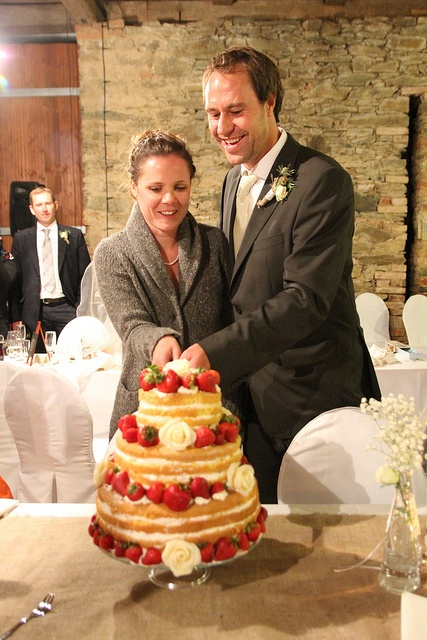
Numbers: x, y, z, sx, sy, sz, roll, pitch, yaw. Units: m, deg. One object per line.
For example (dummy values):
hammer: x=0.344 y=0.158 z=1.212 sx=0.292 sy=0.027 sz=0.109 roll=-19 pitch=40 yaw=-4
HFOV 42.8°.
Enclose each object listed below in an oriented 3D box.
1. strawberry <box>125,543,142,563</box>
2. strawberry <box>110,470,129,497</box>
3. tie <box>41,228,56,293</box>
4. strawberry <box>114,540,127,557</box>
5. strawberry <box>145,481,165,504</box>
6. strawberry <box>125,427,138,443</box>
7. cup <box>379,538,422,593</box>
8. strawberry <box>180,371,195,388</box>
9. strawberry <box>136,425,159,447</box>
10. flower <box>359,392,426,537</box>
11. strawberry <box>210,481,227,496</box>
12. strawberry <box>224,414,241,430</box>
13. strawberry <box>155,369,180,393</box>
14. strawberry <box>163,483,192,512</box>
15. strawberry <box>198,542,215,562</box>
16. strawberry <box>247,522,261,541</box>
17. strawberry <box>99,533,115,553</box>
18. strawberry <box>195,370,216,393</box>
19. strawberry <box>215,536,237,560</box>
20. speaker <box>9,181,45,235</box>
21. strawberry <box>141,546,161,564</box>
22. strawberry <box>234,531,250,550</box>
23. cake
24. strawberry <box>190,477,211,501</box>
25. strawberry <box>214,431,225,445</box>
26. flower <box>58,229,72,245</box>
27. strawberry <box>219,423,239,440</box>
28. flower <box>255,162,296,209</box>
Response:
strawberry: x=-0.170 y=0.501 z=1.166 sx=0.033 sy=0.034 sz=0.032 roll=-9 pitch=-19 yaw=-39
strawberry: x=-0.211 y=0.370 z=1.249 sx=0.043 sy=0.054 sz=0.044 roll=-17 pitch=-3 yaw=-26
tie: x=-1.845 y=-0.676 z=6.081 sx=0.022 sy=0.807 sz=0.173 roll=7 pitch=12 yaw=19
strawberry: x=-0.203 y=0.502 z=1.195 sx=0.024 sy=0.030 sz=0.017 roll=-7 pitch=-35 yaw=10
strawberry: x=-0.125 y=0.376 z=1.185 sx=0.043 sy=0.049 sz=0.045 roll=8 pitch=-2 yaw=-26
strawberry: x=-0.193 y=0.273 z=1.284 sx=0.034 sy=0.018 sz=0.024 roll=2 pitch=-25 yaw=13
cup: x=0.408 y=0.532 z=1.186 sx=0.085 sy=0.125 sz=0.062 roll=2 pitch=7 yaw=17
strawberry: x=-0.057 y=0.138 z=1.262 sx=0.031 sy=0.035 sz=0.030 roll=2 pitch=-9 yaw=13
strawberry: x=-0.156 y=0.262 z=1.230 sx=0.061 sy=0.048 sz=0.040 roll=4 pitch=8 yaw=28
flower: x=0.404 y=0.269 z=1.219 sx=0.142 sy=0.246 sz=0.245 roll=2 pitch=7 yaw=16
strawberry: x=0.011 y=0.383 z=1.223 sx=0.030 sy=0.031 sz=0.022 roll=5 pitch=8 yaw=33
strawberry: x=0.048 y=0.255 z=1.357 sx=0.037 sy=0.040 sz=0.035 roll=-1 pitch=-6 yaw=2
strawberry: x=-0.100 y=0.145 z=1.249 sx=0.050 sy=0.050 sz=0.050 roll=24 pitch=-6 yaw=9
strawberry: x=-0.076 y=0.384 z=1.169 sx=0.061 sy=0.059 sz=0.052 roll=-1 pitch=7 yaw=-9
strawberry: x=-0.012 y=0.499 z=1.166 sx=0.034 sy=0.034 sz=0.035 roll=-5 pitch=-21 yaw=17
strawberry: x=0.098 y=0.492 z=1.264 sx=0.034 sy=0.037 sz=0.035 roll=-8 pitch=-14 yaw=27
strawberry: x=-0.243 y=0.506 z=1.238 sx=0.032 sy=0.032 sz=0.032 roll=1 pitch=1 yaw=-24
strawberry: x=-0.018 y=0.143 z=1.270 sx=0.040 sy=0.038 sz=0.052 roll=-8 pitch=13 yaw=-38
strawberry: x=0.028 y=0.504 z=1.190 sx=0.046 sy=0.048 sz=0.025 roll=-1 pitch=7 yaw=-14
speaker: x=-2.460 y=-1.521 z=7.396 sx=0.490 sy=0.712 sz=0.461 roll=10 pitch=17 yaw=2
strawberry: x=-0.129 y=0.497 z=1.140 sx=0.038 sy=0.026 sz=0.027 roll=-13 pitch=12 yaw=-31
strawberry: x=0.066 y=0.492 z=1.218 sx=0.021 sy=0.036 sz=0.028 roll=-22 pitch=11 yaw=28
cake: x=-0.081 y=0.327 z=1.331 sx=0.452 sy=0.394 sz=0.434 roll=-1 pitch=9 yaw=1
strawberry: x=-0.025 y=0.369 z=1.199 sx=0.025 sy=0.054 sz=0.059 roll=6 pitch=9 yaw=42
strawberry: x=0.014 y=0.274 z=1.264 sx=0.025 sy=0.028 sz=0.025 roll=-1 pitch=5 yaw=-5
flower: x=-1.664 y=-0.939 z=6.101 sx=0.117 sy=0.163 sz=0.128 roll=-2 pitch=7 yaw=-15
strawberry: x=0.037 y=0.263 z=1.285 sx=0.041 sy=0.046 sz=0.041 roll=-12 pitch=-22 yaw=30
flower: x=0.233 y=-0.502 z=2.029 sx=0.136 sy=0.152 sz=0.111 roll=1 pitch=7 yaw=5
